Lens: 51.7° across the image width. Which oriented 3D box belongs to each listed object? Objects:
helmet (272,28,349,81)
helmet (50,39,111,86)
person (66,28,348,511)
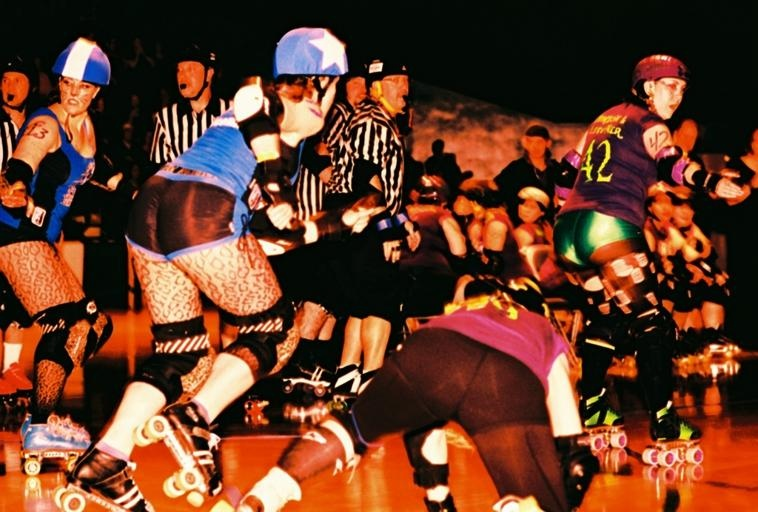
[{"bbox_3d":[-0.355,-1.042,4.048,0.313,0.285,0.317,-6,14,3],"label":"helmet"},{"bbox_3d":[-1.731,-1.125,4.630,0.336,0.290,0.284,3,6,38],"label":"helmet"},{"bbox_3d":[-0.862,0.234,4.252,1.042,2.792,1.374,3,11,-15],"label":"person"}]
